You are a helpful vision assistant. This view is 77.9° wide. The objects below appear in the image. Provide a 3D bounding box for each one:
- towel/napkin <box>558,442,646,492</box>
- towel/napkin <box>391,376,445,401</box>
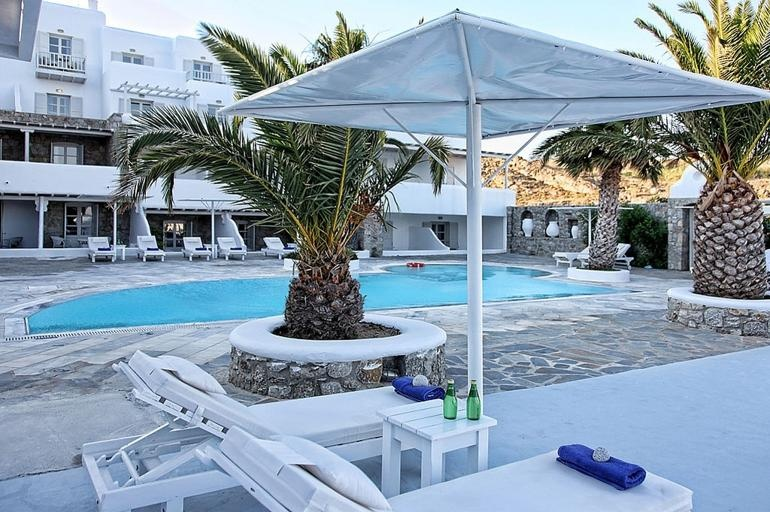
[{"bbox_3d":[1.343,1.318,3.015,0.251,0.081,0.396,-1,3,-35],"label":"towel/napkin"},{"bbox_3d":[0.295,1.135,4.037,0.245,0.086,0.308,1,1,-38],"label":"towel/napkin"}]
